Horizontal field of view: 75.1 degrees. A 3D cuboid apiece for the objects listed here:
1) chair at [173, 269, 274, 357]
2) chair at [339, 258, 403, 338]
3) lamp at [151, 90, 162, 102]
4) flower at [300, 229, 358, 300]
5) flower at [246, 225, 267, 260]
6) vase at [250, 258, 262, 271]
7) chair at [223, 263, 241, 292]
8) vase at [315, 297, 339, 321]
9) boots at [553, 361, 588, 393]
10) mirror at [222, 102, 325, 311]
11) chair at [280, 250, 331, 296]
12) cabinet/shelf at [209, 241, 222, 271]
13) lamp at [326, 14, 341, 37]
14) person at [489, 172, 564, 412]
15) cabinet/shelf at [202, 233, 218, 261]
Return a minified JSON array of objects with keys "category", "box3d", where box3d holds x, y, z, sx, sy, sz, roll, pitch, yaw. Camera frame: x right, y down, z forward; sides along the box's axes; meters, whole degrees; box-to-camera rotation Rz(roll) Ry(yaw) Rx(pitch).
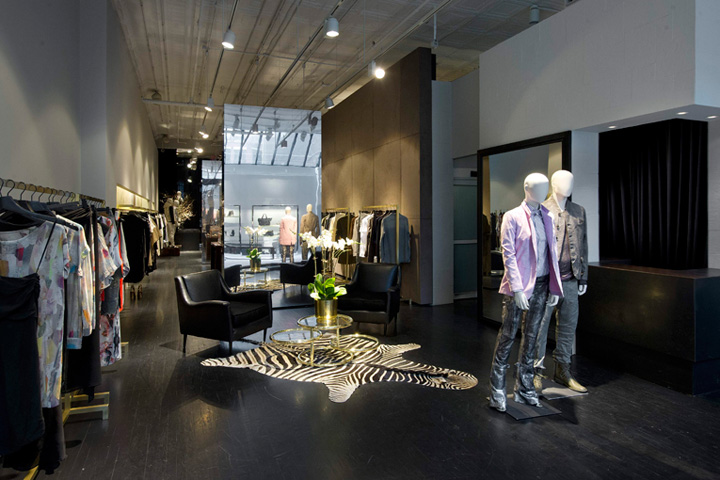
[{"category":"chair","box3d":[-1.955,0.997,6.811,1.126,1.100,1.126,0,3,34]},{"category":"chair","box3d":[0.167,0.855,7.374,1.028,1.005,1.043,3,-1,-21]},{"category":"lamp","box3d":[-5.486,-3.943,12.642,0.242,0.302,0.737,-6,15,-22]},{"category":"flower","box3d":[-0.472,0.352,6.380,0.744,0.942,0.618,4,-4,-10]},{"category":"flower","box3d":[-1.943,0.070,8.767,0.380,0.739,0.339,12,11,21]},{"category":"vase","box3d":[-1.934,0.441,8.792,0.199,0.249,0.209,0,7,-11]},{"category":"chair","box3d":[-2.332,0.675,8.573,0.402,0.514,0.440,0,1,-8]},{"category":"vase","box3d":[-0.448,0.918,6.270,0.259,0.310,0.257,1,-1,29]},{"category":"boots","box3d":[2.423,1.599,5.466,0.170,0.305,0.436,1,-3,-32]},{"category":"mirror","box3d":[-1.719,-0.658,9.107,1.916,4.211,0.040,-1,36,-13]},{"category":"chair","box3d":[-1.199,0.570,9.149,0.687,0.724,0.534,4,-1,-18]},{"category":"cabinet/shelf","box3d":[-3.723,0.406,12.149,0.247,0.776,0.796,0,0,-16]},{"category":"lamp","box3d":[-0.410,-3.209,6.969,0.171,0.261,0.251,-2,14,-7]},{"category":"person","box3d":[1.751,0.545,4.996,0.875,2.443,0.569,-10,16,-35]},{"category":"cabinet/shelf","box3d":[-5.122,0.202,16.086,0.456,0.907,0.911,1,-4,-15]}]
